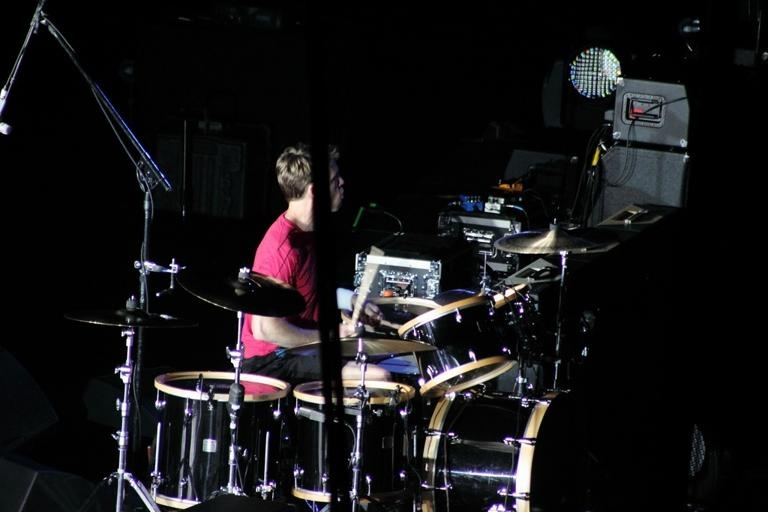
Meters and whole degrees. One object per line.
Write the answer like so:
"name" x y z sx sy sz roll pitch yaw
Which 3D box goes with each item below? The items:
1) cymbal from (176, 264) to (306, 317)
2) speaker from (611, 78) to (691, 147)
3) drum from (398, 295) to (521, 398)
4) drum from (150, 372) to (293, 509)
"cymbal" -0.796 0.206 5.322 0.415 0.102 0.418 26 14 19
"speaker" 1.855 -1.021 6.867 0.622 0.467 0.346 5 -4 -19
"drum" 0.433 0.567 5.755 0.674 0.660 0.476 0 60 -49
"drum" -0.970 1.029 5.707 0.848 0.609 0.829 6 2 0
